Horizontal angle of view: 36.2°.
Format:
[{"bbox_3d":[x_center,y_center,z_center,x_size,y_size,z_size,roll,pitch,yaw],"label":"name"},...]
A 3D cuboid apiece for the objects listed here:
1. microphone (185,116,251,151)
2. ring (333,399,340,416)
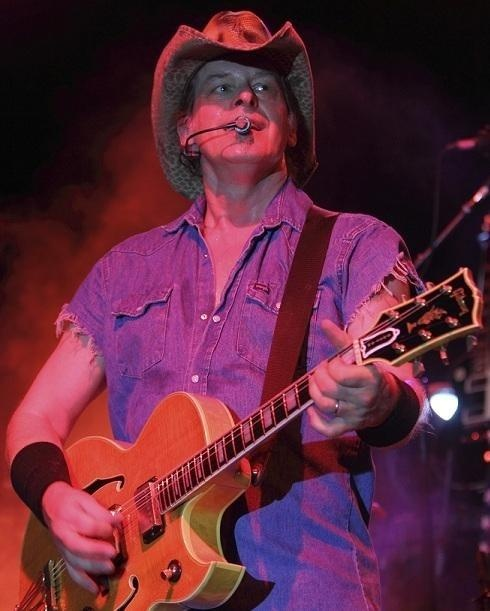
[{"bbox_3d":[-0.076,-0.545,2.370,0.156,0.041,0.105,-15,21,0],"label":"microphone"},{"bbox_3d":[0.193,0.216,1.574,0.007,0.023,0.026,7,0,5],"label":"ring"}]
